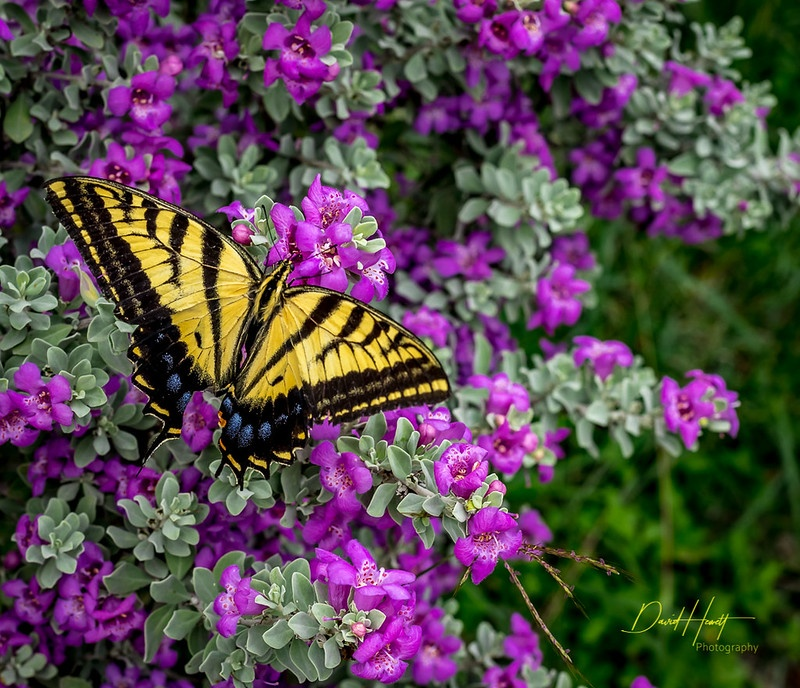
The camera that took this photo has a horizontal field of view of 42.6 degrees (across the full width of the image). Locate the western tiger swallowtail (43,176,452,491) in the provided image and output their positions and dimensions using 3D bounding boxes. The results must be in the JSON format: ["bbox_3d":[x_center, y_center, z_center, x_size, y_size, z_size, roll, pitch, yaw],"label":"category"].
[{"bbox_3d":[-0.495,-0.007,2.871,1.231,0.376,0.587,32,82,0],"label":"western tiger swallowtail"}]
